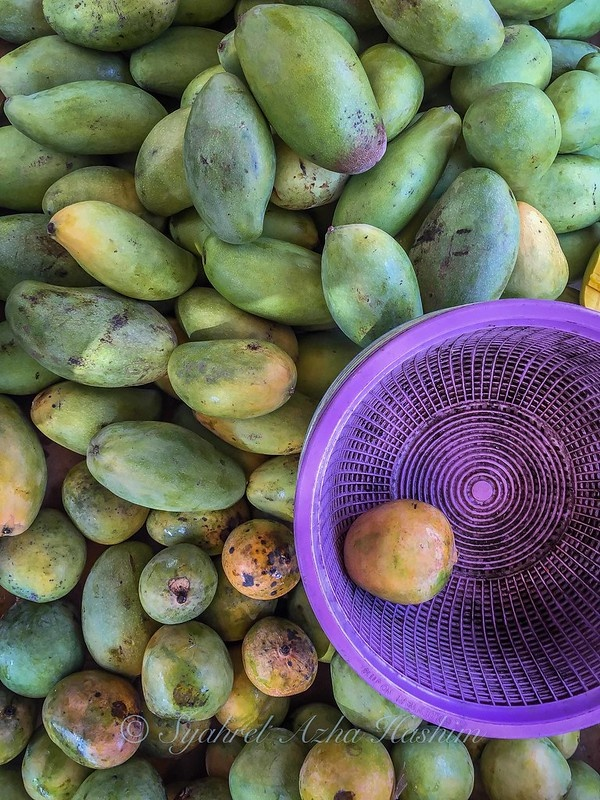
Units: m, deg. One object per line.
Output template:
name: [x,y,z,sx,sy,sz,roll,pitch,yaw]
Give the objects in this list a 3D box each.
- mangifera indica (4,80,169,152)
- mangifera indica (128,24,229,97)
mangifera indica: [-0.294,-0.398,1.164,0.216,0.093,0.108,-5,39,-11]
mangifera indica: [-0.187,-0.515,1.247,0.143,0.081,0.086,-27,41,-14]
